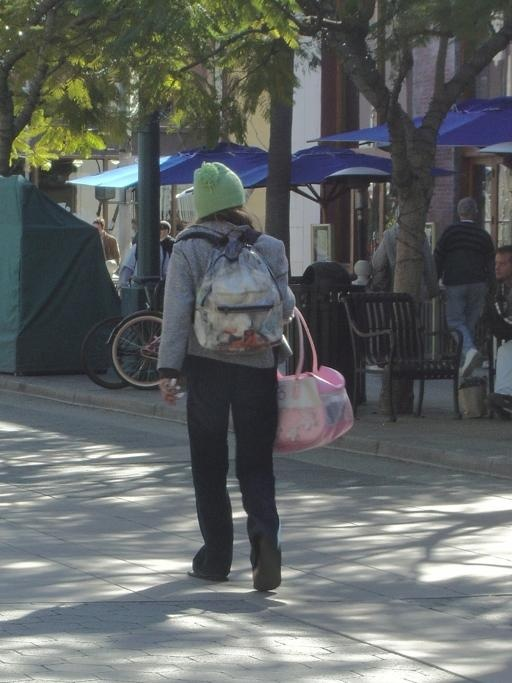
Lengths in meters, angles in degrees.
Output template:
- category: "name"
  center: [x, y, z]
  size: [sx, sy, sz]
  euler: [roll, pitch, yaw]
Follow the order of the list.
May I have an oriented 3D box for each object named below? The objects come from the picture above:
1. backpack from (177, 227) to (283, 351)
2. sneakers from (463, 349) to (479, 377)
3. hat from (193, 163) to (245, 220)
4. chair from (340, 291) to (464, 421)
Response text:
- category: "backpack"
  center: [-0.087, -0.209, 5.431]
  size: [0.329, 0.522, 0.502]
  euler: [-5, 9, -17]
- category: "sneakers"
  center: [1.763, 0.179, 11.090]
  size: [0.088, 0.266, 0.106]
  euler: [9, 39, -12]
- category: "hat"
  center: [-0.157, -0.631, 5.575]
  size: [0.234, 0.207, 0.178]
  euler: [-15, 12, 22]
- category: "chair"
  center: [1.236, 0.098, 10.971]
  size: [0.685, 0.992, 0.764]
  euler: [0, 0, -30]
